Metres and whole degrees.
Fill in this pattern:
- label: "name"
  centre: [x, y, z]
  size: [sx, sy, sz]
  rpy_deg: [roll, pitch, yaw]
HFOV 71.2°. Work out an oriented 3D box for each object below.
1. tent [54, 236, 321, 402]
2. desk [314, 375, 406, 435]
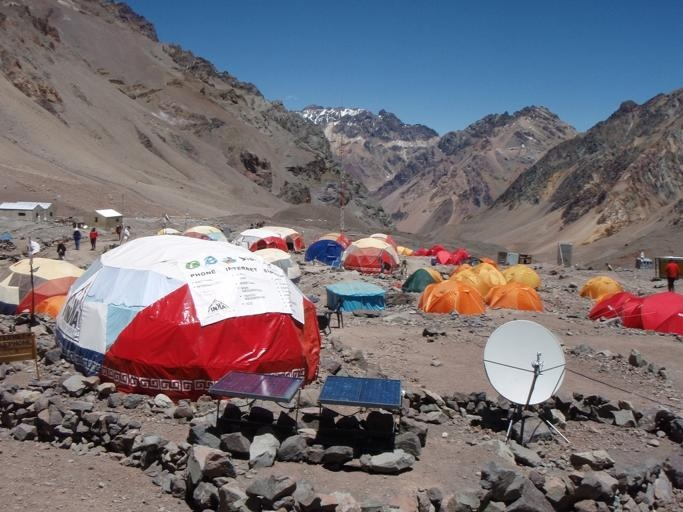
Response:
- label: "tent"
  centre: [-3.457, 1.384, 10.790]
  size: [5.692, 2.905, 2.513]
  rpy_deg: [7, 10, 1]
- label: "desk"
  centre: [0.352, 2.611, 8.823]
  size: [1.401, 0.644, 1.333]
  rpy_deg: [7, 8, 7]
